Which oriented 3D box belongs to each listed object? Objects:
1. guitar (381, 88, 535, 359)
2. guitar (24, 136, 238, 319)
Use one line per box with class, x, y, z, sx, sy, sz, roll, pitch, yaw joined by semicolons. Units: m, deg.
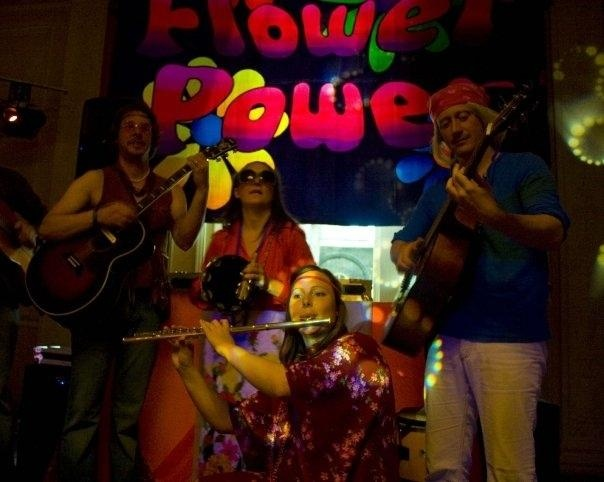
guitar;0.846;-0.002;2.995;0.636;1.507;0.651;2;5;19
guitar;-1.030;-0.012;3.152;0.401;1.031;0.156;46;-17;1
